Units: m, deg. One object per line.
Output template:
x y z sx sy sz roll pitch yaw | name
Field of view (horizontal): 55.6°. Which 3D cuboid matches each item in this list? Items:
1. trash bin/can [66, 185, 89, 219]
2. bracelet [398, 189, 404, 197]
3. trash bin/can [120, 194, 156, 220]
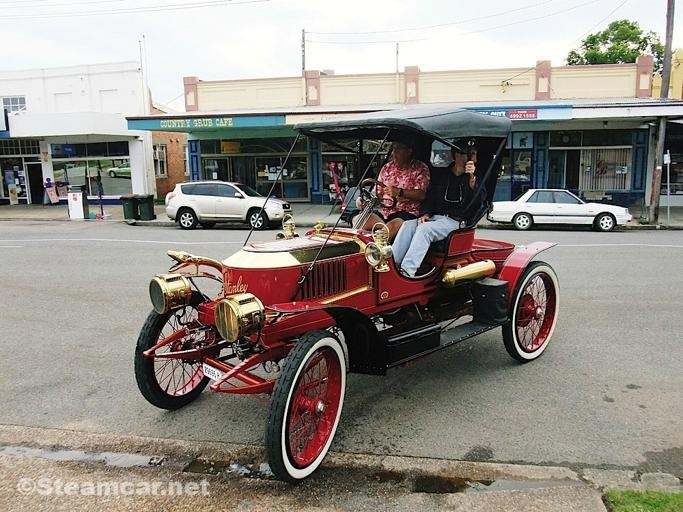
-9.064 -1.818 22.234 0.594 1.130 0.672 -7 11 -33 | trash bin/can
0.675 -0.712 7.355 0.057 0.071 0.083 5 14 8 | bracelet
-6.727 -1.612 21.625 1.229 0.902 0.821 -1 2 -2 | trash bin/can
